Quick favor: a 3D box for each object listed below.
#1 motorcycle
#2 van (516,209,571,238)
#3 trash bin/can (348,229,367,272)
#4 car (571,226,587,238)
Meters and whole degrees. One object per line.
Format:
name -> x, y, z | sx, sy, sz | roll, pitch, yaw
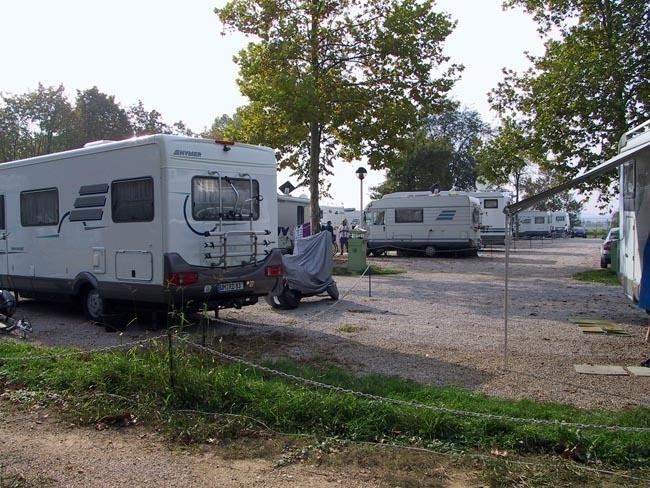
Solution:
motorcycle -> -0.449, 0.590, 13.967 | 1.198, 1.282, 1.956 | -1, -1, 31
van -> 20.562, -1.871, 55.798 | 4.300, 2.426, 3.021 | -1, 3, 6
trash bin/can -> 1.110, 0.247, 20.361 | 0.593, 1.454, 0.893 | 0, 5, 4
car -> 30.060, -1.441, 70.164 | 1.282, 1.019, 2.144 | -2, -4, 13
